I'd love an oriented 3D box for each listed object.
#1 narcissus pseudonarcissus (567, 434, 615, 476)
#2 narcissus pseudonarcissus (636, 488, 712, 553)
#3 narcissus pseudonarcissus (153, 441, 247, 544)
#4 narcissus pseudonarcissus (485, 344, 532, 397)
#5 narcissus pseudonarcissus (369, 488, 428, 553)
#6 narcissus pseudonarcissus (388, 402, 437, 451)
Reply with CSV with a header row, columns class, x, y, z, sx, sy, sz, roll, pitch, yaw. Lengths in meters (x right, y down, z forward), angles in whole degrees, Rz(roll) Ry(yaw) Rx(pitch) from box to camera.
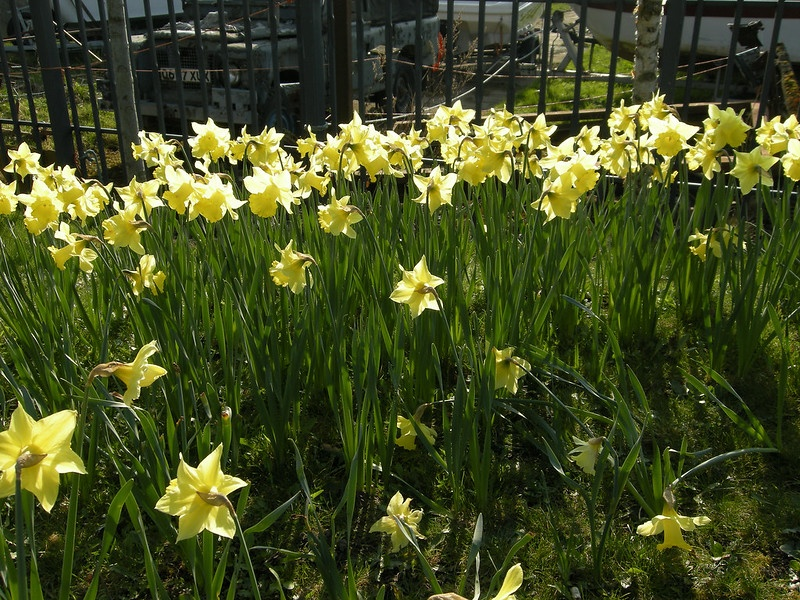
class,x,y,z,sx,sy,sz,roll,pitch,yaw
narcissus pseudonarcissus,0.649,0.509,2.380,0.077,0.151,0.167,-36,12,48
narcissus pseudonarcissus,0.897,0.743,2.322,0.197,0.225,0.228,0,61,-13
narcissus pseudonarcissus,-0.502,0.487,1.725,0.203,0.240,0.143,-14,21,-33
narcissus pseudonarcissus,0.408,0.243,2.573,0.132,0.205,0.139,-5,9,-11
narcissus pseudonarcissus,-0.012,0.716,2.190,0.160,0.233,0.084,4,4,12
narcissus pseudonarcissus,0.050,0.475,2.528,0.156,0.189,0.195,13,57,12
